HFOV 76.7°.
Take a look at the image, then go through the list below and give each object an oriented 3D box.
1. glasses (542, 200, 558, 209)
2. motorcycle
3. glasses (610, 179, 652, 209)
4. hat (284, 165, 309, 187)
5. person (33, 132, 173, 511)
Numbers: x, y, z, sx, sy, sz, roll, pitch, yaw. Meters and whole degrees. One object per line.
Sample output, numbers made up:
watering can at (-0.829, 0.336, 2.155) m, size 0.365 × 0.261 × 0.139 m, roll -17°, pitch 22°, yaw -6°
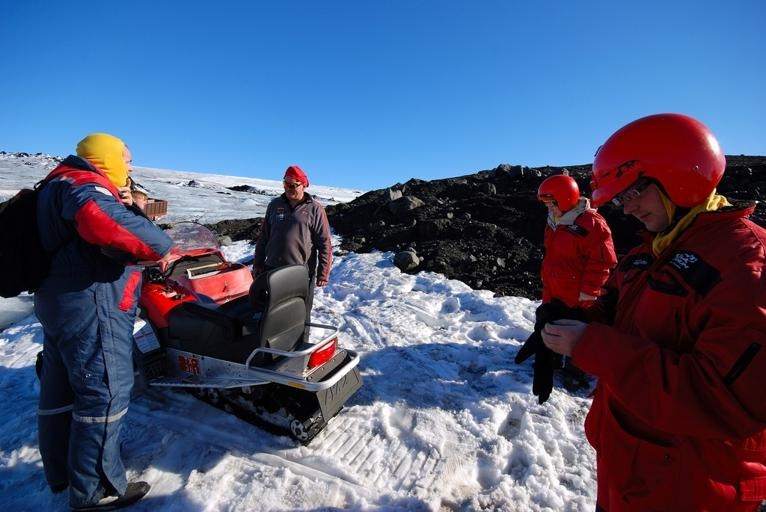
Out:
glasses at (2.043, -0.613, 5.843) m, size 0.090 × 0.103 × 0.033 m, roll -11°, pitch -1°, yaw 37°
motorcycle at (-1.609, 0.896, 5.442) m, size 2.674 × 1.473 × 1.270 m, roll 14°, pitch 13°, yaw 30°
glasses at (1.622, -0.427, 3.200) m, size 0.056 × 0.188 × 0.180 m, roll 49°, pitch -7°, yaw 30°
hat at (-1.129, -1.042, 6.357) m, size 0.278 × 0.227 × 0.415 m, roll 8°, pitch 6°, yaw -11°
person at (-2.537, 0.595, 4.298) m, size 1.128 × 3.301 × 0.551 m, roll 13°, pitch 7°, yaw 15°
